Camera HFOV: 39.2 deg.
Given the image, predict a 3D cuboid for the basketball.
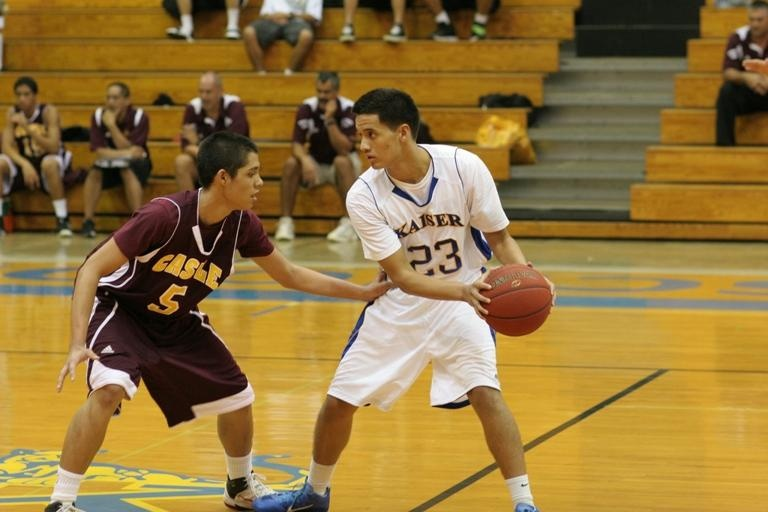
[{"bbox_3d":[0.610,0.196,5.012,0.367,0.362,0.317,-1,31,13],"label":"basketball"}]
